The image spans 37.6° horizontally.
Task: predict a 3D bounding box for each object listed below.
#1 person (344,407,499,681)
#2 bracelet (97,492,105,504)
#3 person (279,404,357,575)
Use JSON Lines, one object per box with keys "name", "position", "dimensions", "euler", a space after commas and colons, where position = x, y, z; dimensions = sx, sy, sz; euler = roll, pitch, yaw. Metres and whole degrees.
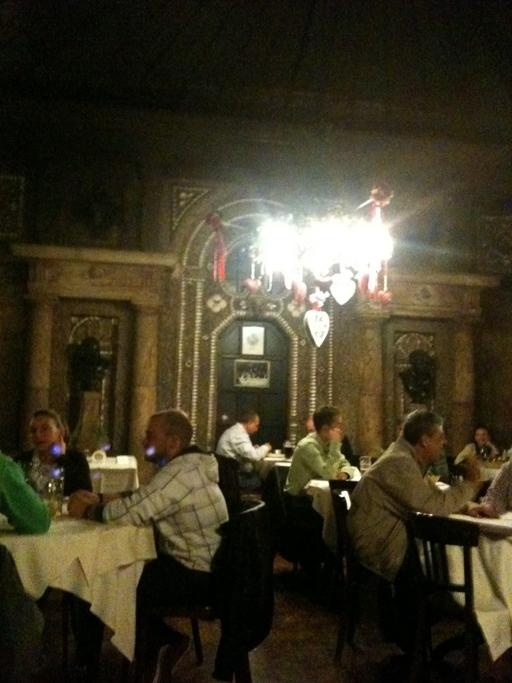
{"name": "person", "position": [0.775, 0.962, 3.817], "dimensions": [0.646, 1.163, 0.613], "euler": [2, 1, -25]}
{"name": "bracelet", "position": [-0.690, 0.702, 3.347], "dimensions": [0.035, 0.029, 0.046], "euler": [5, -13, 2]}
{"name": "person", "position": [0.465, 1.118, 5.667], "dimensions": [0.577, 1.137, 0.503], "euler": [2, 5, -8]}
